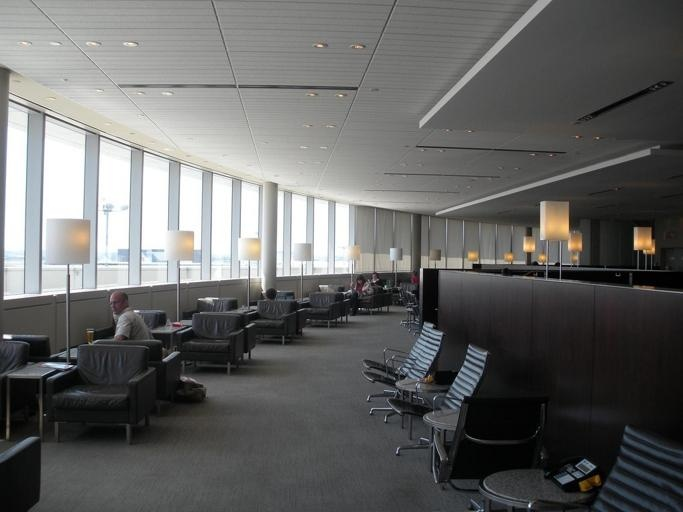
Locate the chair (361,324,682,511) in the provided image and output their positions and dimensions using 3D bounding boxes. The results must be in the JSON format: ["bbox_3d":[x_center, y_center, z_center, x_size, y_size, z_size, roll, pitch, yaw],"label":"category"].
[{"bbox_3d":[1.546,1.345,3.724,1.407,1.381,1.013,-2,-1,-11],"label":"chair"}]

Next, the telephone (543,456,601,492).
[{"bbox_3d":[1.814,1.671,3.816,0.367,0.147,0.380,-6,-5,-6],"label":"telephone"}]

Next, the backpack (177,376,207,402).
[{"bbox_3d":[-2.187,1.880,7.038,0.312,0.143,0.394,7,-6,-26],"label":"backpack"}]

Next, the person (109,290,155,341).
[{"bbox_3d":[-2.997,0.942,6.911,0.620,0.853,0.898,-7,0,-26],"label":"person"}]
